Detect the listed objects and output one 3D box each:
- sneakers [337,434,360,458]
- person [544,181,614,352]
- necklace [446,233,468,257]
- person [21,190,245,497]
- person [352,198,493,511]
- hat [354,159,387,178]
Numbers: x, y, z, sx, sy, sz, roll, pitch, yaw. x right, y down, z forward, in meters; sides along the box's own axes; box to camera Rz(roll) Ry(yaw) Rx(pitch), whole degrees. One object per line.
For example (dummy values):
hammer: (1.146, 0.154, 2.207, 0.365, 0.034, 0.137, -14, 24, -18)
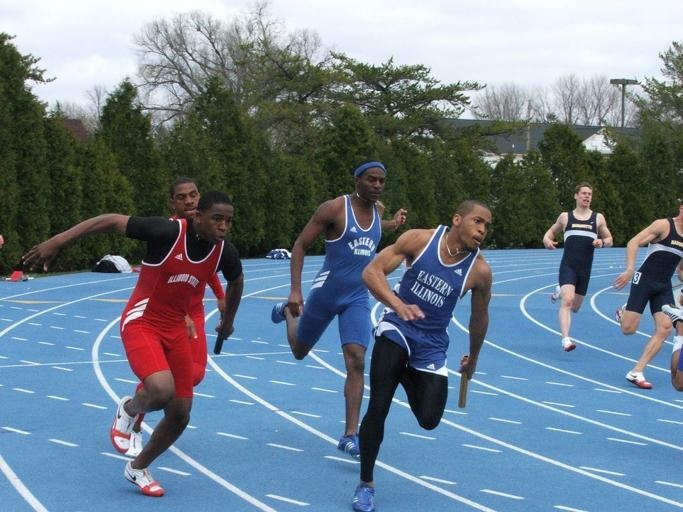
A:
sneakers: (0.064, 1.731, 7.600, 0.123, 0.150, 0.337, 0, 1, -35)
person: (3.485, 0.159, 12.301, 0.950, 2.453, 1.281, 2, 5, 16)
necklace: (0.926, -0.060, 6.659, 0.110, 0.123, 0.095, -42, 10, 6)
person: (-1.532, 0.684, 6.948, 1.394, 2.455, 0.764, 0, 5, -9)
person: (0.667, 0.766, 6.786, 1.173, 2.446, 0.722, 0, 5, -6)
hat: (0.280, -0.845, 8.150, 0.277, 0.159, 0.284, 1, 5, 4)
